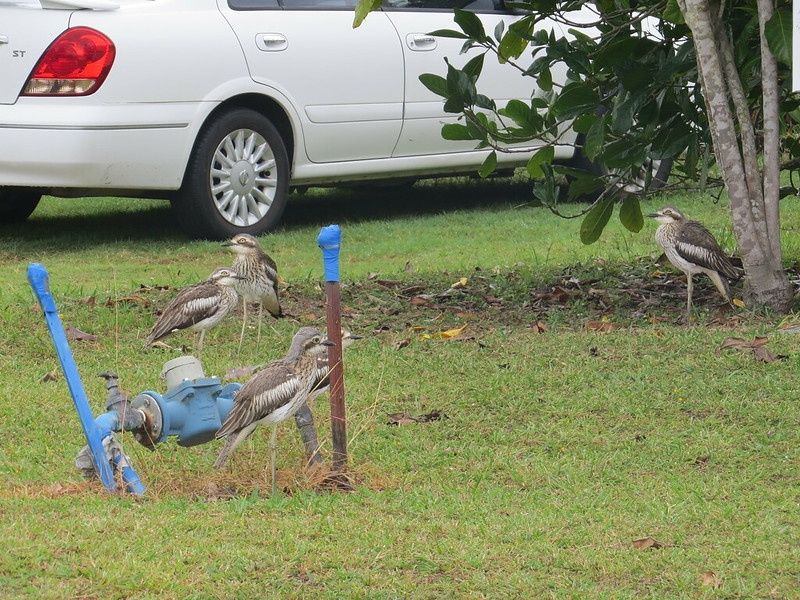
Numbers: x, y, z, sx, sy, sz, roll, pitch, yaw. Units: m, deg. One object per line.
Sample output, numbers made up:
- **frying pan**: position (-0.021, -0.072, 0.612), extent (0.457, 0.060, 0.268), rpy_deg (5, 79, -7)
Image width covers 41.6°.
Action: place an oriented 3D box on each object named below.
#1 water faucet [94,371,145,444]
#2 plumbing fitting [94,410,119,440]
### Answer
- **water faucet**: position (-1.566, 0.569, 5.883), extent (0.130, 0.373, 0.203), rpy_deg (-11, -12, -32)
- **plumbing fitting**: position (-1.603, 0.682, 5.778), extent (0.099, 0.158, 0.190), rpy_deg (5, 13, 22)
